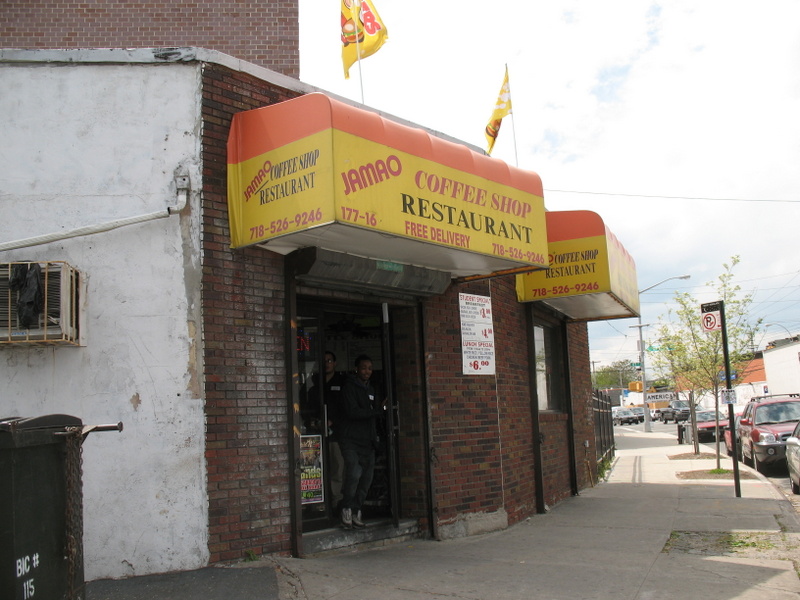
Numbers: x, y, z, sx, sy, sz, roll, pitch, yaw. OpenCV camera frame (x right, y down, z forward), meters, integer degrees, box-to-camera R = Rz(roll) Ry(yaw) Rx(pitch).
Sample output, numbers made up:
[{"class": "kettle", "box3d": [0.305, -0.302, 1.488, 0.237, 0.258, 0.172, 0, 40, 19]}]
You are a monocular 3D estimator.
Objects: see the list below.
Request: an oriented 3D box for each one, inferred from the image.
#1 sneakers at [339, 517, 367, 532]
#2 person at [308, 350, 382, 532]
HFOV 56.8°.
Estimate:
[{"class": "sneakers", "box3d": [-0.614, 3.035, 9.976, 0.379, 0.141, 0.267, -2, -10, -13]}, {"class": "person", "box3d": [-0.673, 1.911, 10.405, 0.894, 2.440, 0.768, -7, -10, 24]}]
